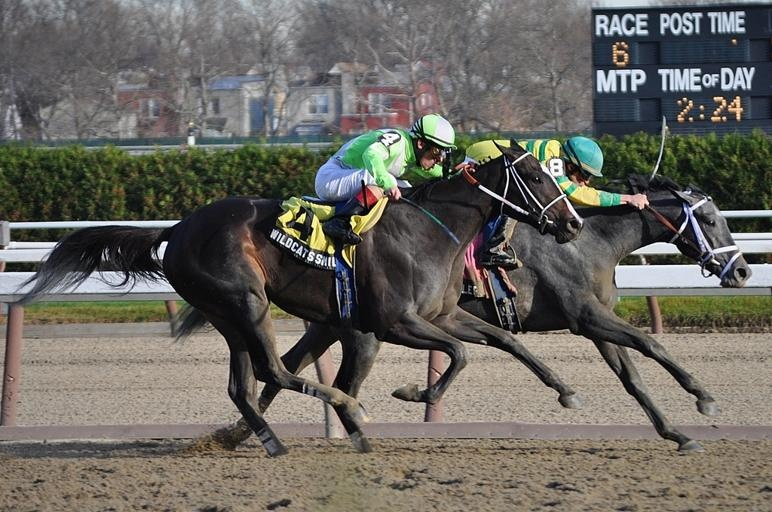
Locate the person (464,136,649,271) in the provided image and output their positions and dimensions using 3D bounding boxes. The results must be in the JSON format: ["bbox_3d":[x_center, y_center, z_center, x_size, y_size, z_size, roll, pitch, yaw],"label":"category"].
[{"bbox_3d":[1.646,-0.498,14.177,2.097,1.180,0.613,-2,0,17],"label":"person"}]

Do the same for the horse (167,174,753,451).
[{"bbox_3d":[-0.895,0.101,16.807,1.465,3.592,8.681,-10,13,-40],"label":"horse"}]

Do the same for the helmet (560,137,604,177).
[{"bbox_3d":[2.055,-1.058,14.107,0.483,0.273,0.351,34,29,14],"label":"helmet"}]

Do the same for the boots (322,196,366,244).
[{"bbox_3d":[-0.381,-0.347,13.230,0.333,0.441,0.235,4,12,25],"label":"boots"}]

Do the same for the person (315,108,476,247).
[{"bbox_3d":[0.159,-0.801,13.509,1.658,1.212,1.035,12,10,6],"label":"person"}]
